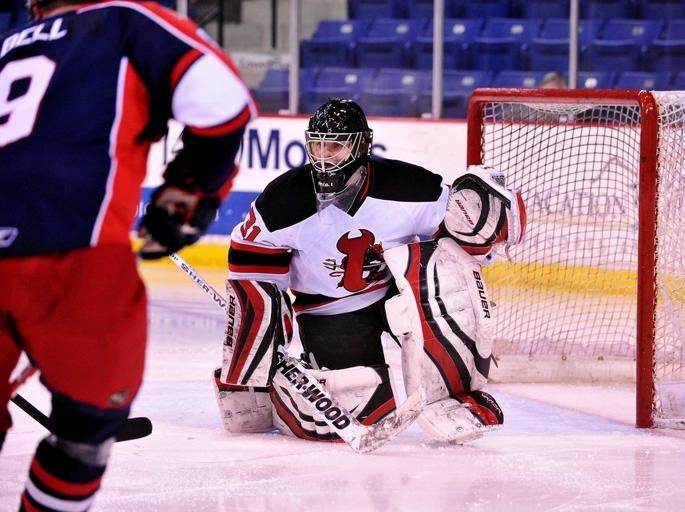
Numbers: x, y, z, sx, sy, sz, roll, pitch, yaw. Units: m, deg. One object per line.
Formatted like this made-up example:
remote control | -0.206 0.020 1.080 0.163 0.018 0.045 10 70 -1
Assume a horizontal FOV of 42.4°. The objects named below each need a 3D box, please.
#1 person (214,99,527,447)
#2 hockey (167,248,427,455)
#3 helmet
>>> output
person | 0.104 0.021 3.141 1.181 1.081 0.836 -5 13 18
hockey | -0.132 0.350 3.064 0.245 0.311 0.790 -26 50 -39
helmet | -0.007 -0.367 3.020 0.218 0.334 0.256 8 14 31
